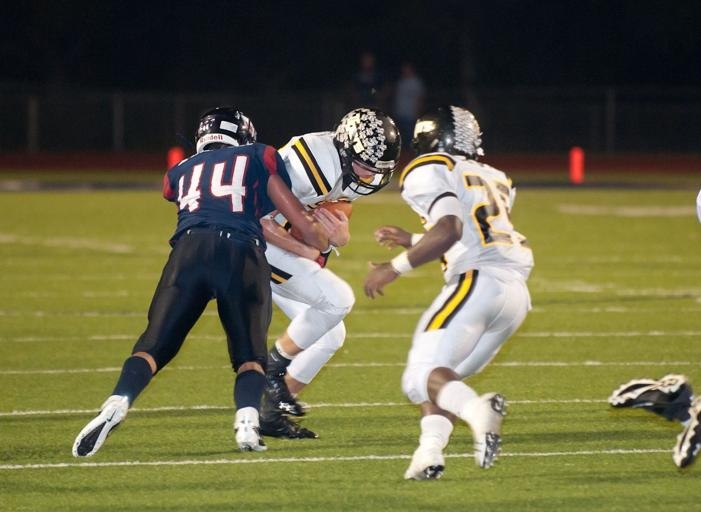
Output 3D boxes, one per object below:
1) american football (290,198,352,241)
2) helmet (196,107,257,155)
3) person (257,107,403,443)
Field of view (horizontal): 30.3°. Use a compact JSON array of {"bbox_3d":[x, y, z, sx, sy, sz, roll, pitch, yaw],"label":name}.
[{"bbox_3d":[-0.245,-0.365,10.505,0.463,0.174,0.317,-29,-21,-5],"label":"american football"},{"bbox_3d":[-0.932,-1.023,10.455,0.392,0.347,0.454,1,25,40],"label":"helmet"},{"bbox_3d":[-0.202,0.089,10.565,1.095,2.706,0.967,-6,29,-38],"label":"person"}]
